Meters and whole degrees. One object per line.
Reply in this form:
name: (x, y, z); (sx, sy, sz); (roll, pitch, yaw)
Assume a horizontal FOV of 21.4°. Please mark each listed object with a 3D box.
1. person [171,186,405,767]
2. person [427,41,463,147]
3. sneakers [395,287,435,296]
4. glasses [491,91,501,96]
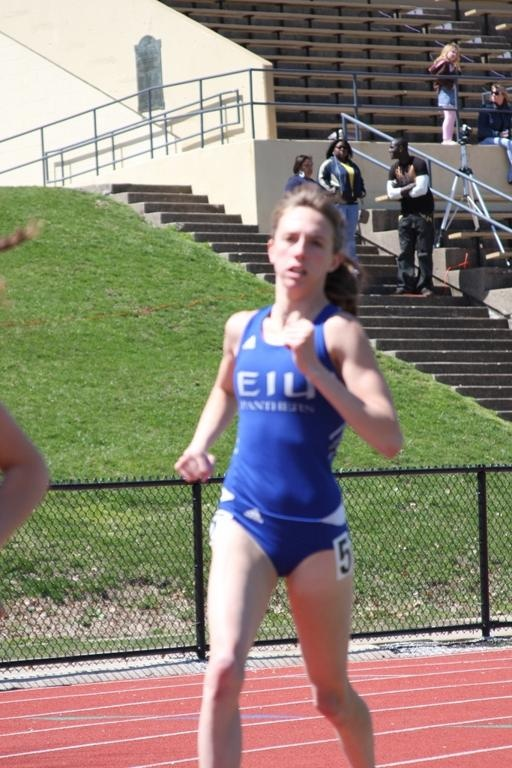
person: (0.111, 0.326, 4.139); (0.665, 1.839, 0.965); (-2, 9, -4)
person: (3.206, -4.938, 22.970); (0.440, 1.681, 2.220); (0, 9, 9)
sneakers: (2.162, -1.262, 18.263); (0.562, 0.110, 0.058); (4, -1, -31)
glasses: (3.961, -4.817, 22.237); (0.142, 0.084, 0.112); (3, 10, 28)
